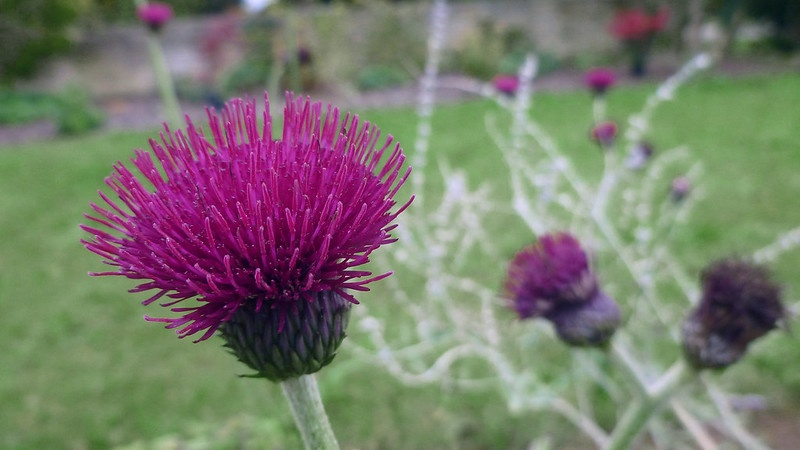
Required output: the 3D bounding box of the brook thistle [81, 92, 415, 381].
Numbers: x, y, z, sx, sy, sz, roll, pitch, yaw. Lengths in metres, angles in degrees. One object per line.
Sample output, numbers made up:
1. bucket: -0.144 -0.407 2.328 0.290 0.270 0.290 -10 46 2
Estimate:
1. brook thistle: -0.545 0.043 3.081 1.211 0.932 0.753 -2 36 0
